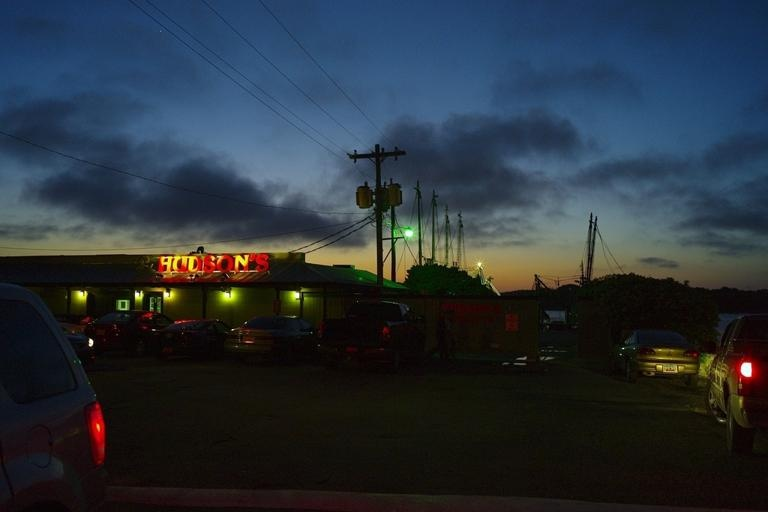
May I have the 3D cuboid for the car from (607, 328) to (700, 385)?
[{"bbox_3d":[8.162,3.093,20.262,1.563,1.635,2.823,0,0,-2],"label":"car"}]
